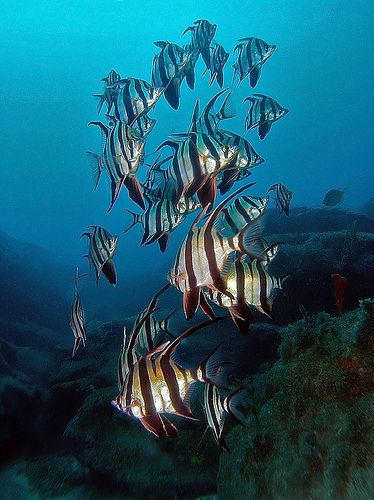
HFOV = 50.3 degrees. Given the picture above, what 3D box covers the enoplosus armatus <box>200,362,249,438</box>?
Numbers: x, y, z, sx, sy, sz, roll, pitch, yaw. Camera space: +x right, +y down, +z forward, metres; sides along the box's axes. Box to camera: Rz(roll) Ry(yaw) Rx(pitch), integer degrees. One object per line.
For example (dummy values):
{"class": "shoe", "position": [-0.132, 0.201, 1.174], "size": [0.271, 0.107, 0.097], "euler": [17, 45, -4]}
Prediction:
{"class": "enoplosus armatus", "position": [0.335, 1.590, 3.989], "size": [0.145, 0.386, 0.648], "euler": [3, -18, -44]}
